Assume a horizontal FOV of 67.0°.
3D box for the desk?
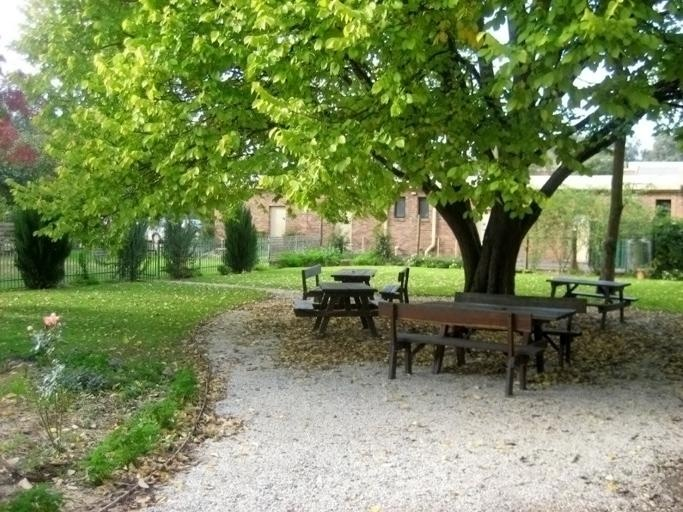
[{"bbox_3d":[5.314,0.968,11.213,1.677,0.771,1.656,-2,6,-33],"label":"desk"}]
